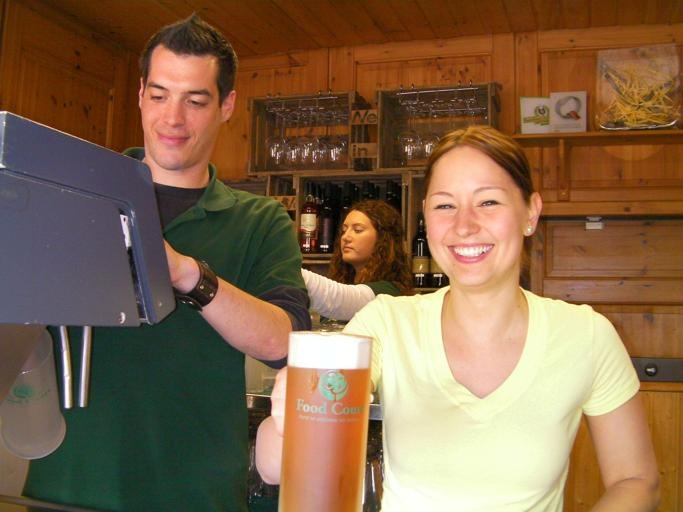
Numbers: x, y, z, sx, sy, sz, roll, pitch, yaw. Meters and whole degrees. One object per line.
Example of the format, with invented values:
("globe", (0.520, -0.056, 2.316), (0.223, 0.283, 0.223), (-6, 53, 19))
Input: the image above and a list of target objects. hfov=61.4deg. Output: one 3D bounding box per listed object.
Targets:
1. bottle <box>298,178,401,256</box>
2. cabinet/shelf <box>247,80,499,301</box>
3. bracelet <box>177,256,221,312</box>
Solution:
("bottle", (0.044, -0.100, 3.688), (0.491, 0.433, 0.157), (1, -3, 1))
("cabinet/shelf", (0.243, -0.405, 4.197), (1.667, 0.961, 0.428), (-1, 15, -5))
("bracelet", (-0.327, 0.107, 1.362), (0.082, 0.104, 0.075), (-34, -49, 12))
